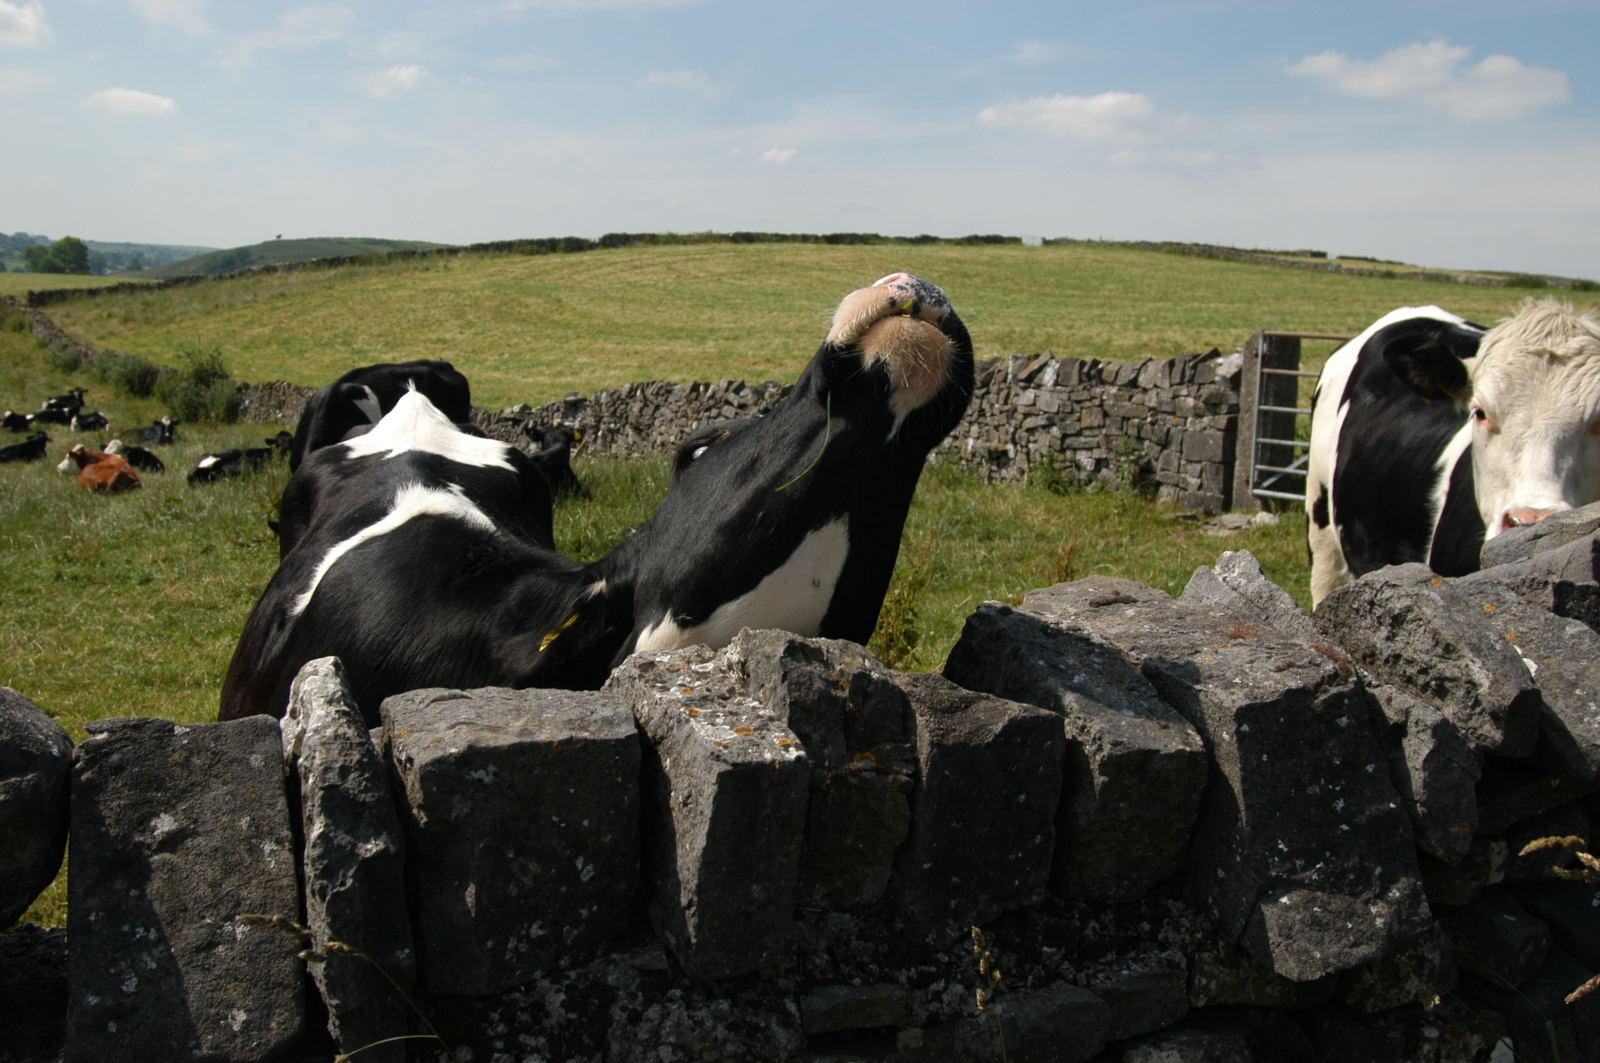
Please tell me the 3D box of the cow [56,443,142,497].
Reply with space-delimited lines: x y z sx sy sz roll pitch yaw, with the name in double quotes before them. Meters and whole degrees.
"cow" -9.423 -0.814 16.808 1.056 0.519 0.423 28 20 27
